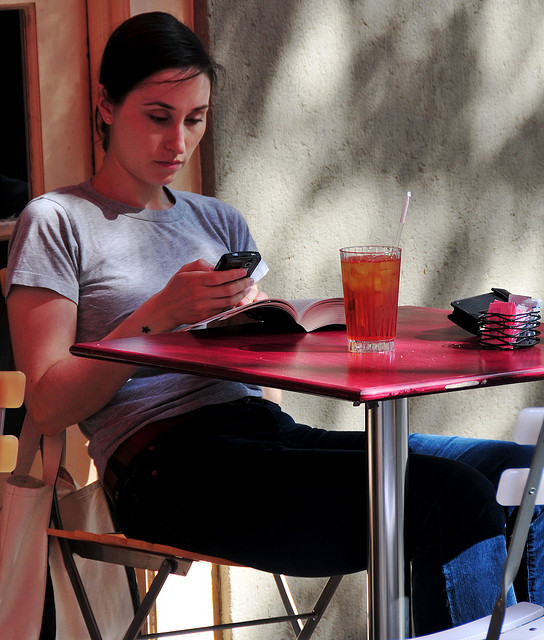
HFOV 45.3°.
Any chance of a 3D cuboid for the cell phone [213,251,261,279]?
[{"bbox_3d":[-0.047,-0.078,0.927,0.076,0.039,0.044,-10,13,-34],"label":"cell phone"}]
